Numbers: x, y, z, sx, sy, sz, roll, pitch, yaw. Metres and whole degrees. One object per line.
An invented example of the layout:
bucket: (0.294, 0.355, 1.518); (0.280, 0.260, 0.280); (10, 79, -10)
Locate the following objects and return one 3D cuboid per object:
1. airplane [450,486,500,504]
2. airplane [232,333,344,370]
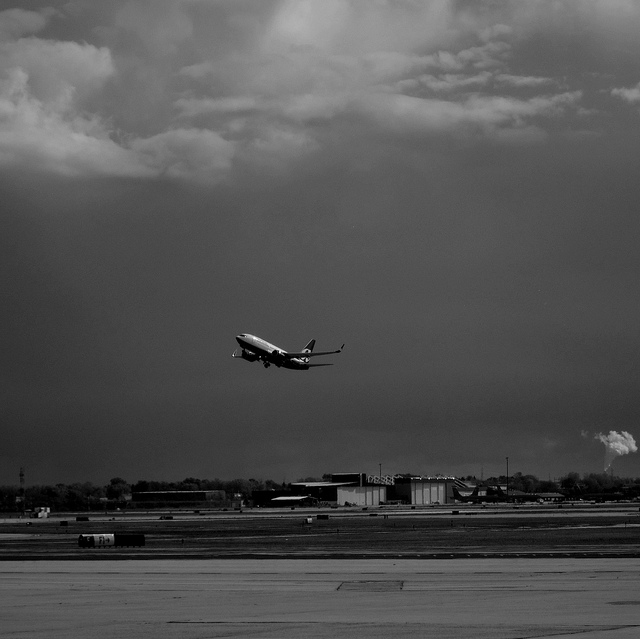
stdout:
airplane: (26.774, 31.625, 296.612); (5.396, 2.358, 5.732); (-2, 6, 4)
airplane: (-4.067, 3.295, 153.848); (7.352, 3.352, 2.799); (-3, 4, -43)
